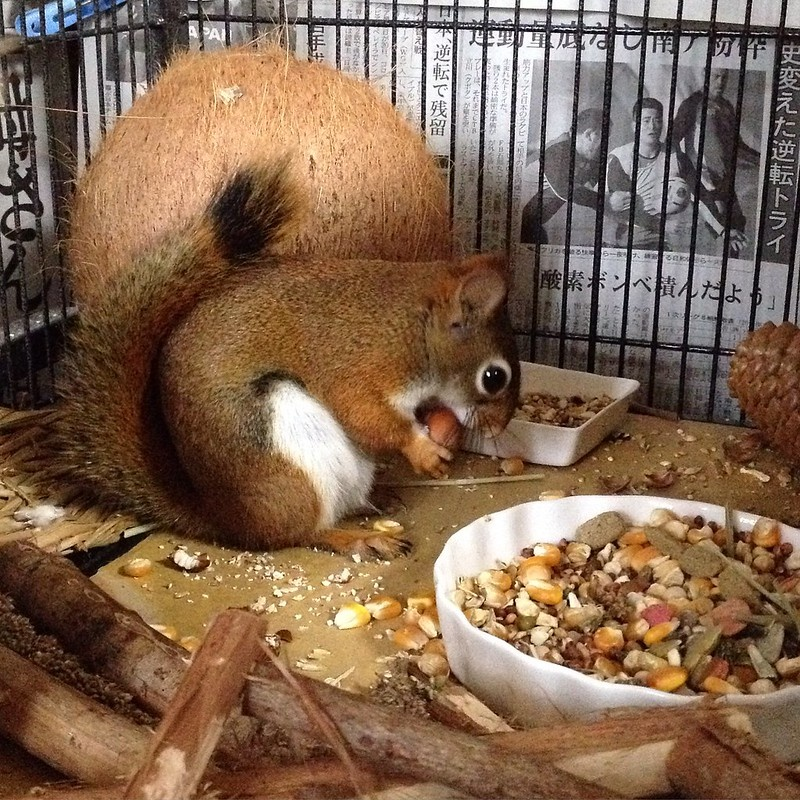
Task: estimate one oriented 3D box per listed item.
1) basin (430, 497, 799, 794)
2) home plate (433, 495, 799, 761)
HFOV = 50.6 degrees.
[{"bbox_3d":[0.316,0.319,1.235,0.536,0.163,0.625,4,15,6],"label":"basin"},{"bbox_3d":[0.292,0.285,1.238,0.444,0.307,0.408,-5,22,-15],"label":"home plate"}]
